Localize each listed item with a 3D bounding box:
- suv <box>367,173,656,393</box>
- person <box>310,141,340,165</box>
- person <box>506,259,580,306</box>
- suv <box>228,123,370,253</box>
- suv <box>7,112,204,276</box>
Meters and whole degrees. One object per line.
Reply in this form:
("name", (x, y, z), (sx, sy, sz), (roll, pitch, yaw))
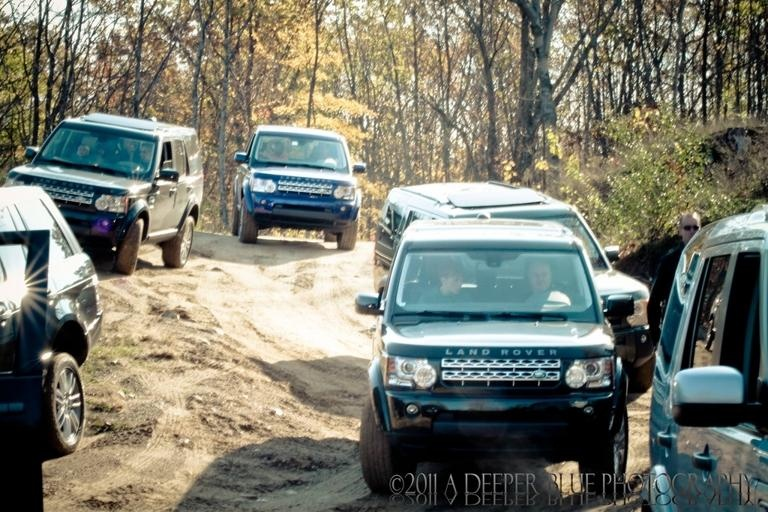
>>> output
("suv", (1.850, 0.204, 12.854), (2.270, 2.099, 4.568), (0, 3, -14))
("person", (-1.406, -2.514, 21.477), (0.400, 0.351, 0.713), (2, 19, -4))
("person", (1.726, 0.346, 9.206), (0.774, 0.586, 0.359), (-4, -18, 24))
("suv", (-2.012, -1.801, 20.931), (2.034, 2.083, 3.744), (3, -1, -11))
("suv", (-4.944, -1.191, 16.404), (2.335, 2.303, 3.908), (7, 3, 11))
